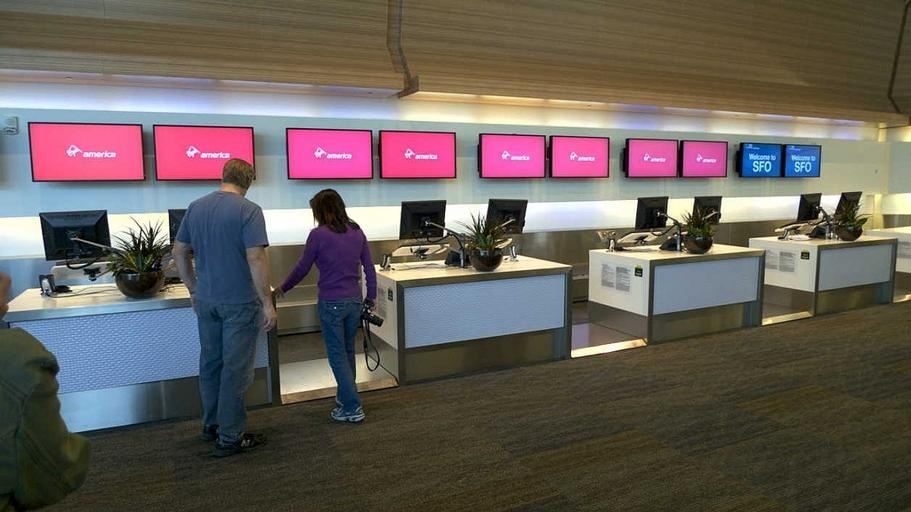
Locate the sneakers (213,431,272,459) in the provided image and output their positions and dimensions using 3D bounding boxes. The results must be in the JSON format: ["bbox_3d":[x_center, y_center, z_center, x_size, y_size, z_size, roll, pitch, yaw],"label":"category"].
[{"bbox_3d":[-2.144,1.892,5.694,0.553,0.207,0.201,-6,8,-36],"label":"sneakers"}]

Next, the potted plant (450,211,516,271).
[{"bbox_3d":[0.343,-0.179,7.333,0.946,0.733,0.859,-1,-1,-4],"label":"potted plant"}]

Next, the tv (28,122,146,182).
[{"bbox_3d":[-5.017,-1.416,7.619,1.405,0.824,0.157,-7,12,-12],"label":"tv"}]

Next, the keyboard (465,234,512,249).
[{"bbox_3d":[0.405,-0.169,7.048,0.565,0.143,0.328,-4,10,-2],"label":"keyboard"}]

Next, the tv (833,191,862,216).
[{"bbox_3d":[6.752,-0.955,9.707,0.639,0.475,0.159,5,9,-28],"label":"tv"}]

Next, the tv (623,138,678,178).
[{"bbox_3d":[3.728,-1.861,10.597,1.264,0.740,0.259,-10,12,-28],"label":"tv"}]

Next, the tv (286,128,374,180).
[{"bbox_3d":[-1.997,-1.573,8.579,1.028,0.479,0.092,-2,8,-18],"label":"tv"}]

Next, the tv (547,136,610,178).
[{"bbox_3d":[2.212,-1.777,10.033,1.213,0.772,0.258,-10,12,-27],"label":"tv"}]

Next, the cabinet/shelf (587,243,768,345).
[{"bbox_3d":[3.054,0.145,8.182,2.349,1.052,1.564,-4,7,-36],"label":"cabinet/shelf"}]

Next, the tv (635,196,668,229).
[{"bbox_3d":[2.944,-0.643,8.394,0.611,0.453,0.193,-5,14,-18],"label":"tv"}]

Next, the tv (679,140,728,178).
[{"bbox_3d":[4.879,-1.914,10.996,1.162,0.733,0.116,-8,12,-21],"label":"tv"}]

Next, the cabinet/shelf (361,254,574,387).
[{"bbox_3d":[0.021,0.423,7.448,3.014,1.332,1.516,-3,5,-25],"label":"cabinet/shelf"}]

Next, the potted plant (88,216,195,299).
[{"bbox_3d":[-3.489,-0.052,6.402,1.283,0.795,1.159,0,-2,-20],"label":"potted plant"}]

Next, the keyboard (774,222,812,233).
[{"bbox_3d":[5.662,-0.473,9.414,0.364,0.169,0.756,5,13,41],"label":"keyboard"}]

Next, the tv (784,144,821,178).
[{"bbox_3d":[7.405,-2.036,11.950,1.067,0.727,0.204,-11,12,-30],"label":"tv"}]

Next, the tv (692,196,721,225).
[{"bbox_3d":[3.859,-0.692,8.597,0.703,0.485,0.225,0,1,-23],"label":"tv"}]

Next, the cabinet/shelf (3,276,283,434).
[{"bbox_3d":[-3.527,0.935,6.338,3.109,1.468,1.580,-3,4,-29],"label":"cabinet/shelf"}]

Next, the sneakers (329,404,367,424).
[{"bbox_3d":[-1.165,1.722,6.103,0.396,0.155,0.152,3,1,11],"label":"sneakers"}]

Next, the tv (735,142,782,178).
[{"bbox_3d":[6.199,-1.985,11.513,0.913,0.457,0.109,-4,7,-25],"label":"tv"}]

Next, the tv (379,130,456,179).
[{"bbox_3d":[-0.675,-1.644,9.040,1.029,0.478,0.120,-1,7,-20],"label":"tv"}]

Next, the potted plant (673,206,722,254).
[{"bbox_3d":[3.634,-0.354,8.424,0.733,0.766,0.863,0,-2,0],"label":"potted plant"}]
